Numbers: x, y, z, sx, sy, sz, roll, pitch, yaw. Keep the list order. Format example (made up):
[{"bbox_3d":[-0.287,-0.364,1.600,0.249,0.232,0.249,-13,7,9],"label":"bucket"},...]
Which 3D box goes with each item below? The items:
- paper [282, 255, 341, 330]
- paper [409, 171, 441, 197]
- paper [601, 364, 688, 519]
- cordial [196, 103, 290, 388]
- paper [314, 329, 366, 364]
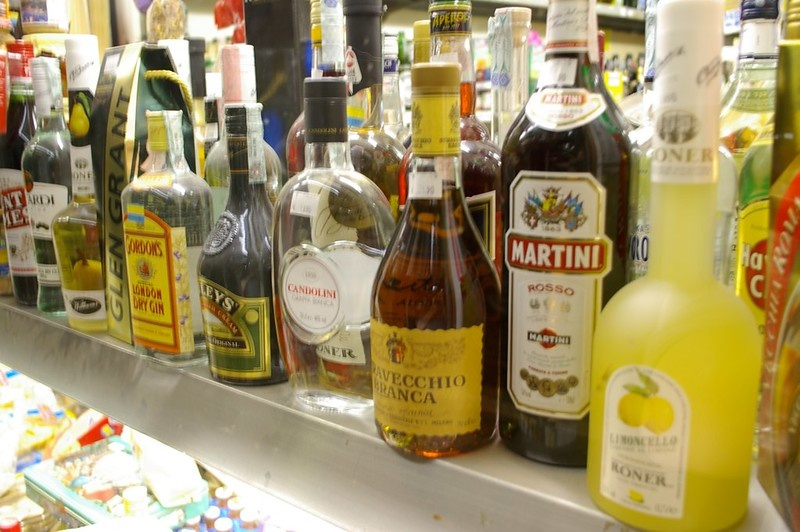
[{"bbox_3d":[-0.124,0.035,0.896,0.102,0.119,0.016,0,13,37],"label":"paper"},{"bbox_3d":[0.032,-0.106,0.807,0.048,0.036,0.027,5,8,29],"label":"paper"},{"bbox_3d":[0.264,0.184,0.691,0.111,0.202,0.021,3,13,27],"label":"paper"},{"bbox_3d":[-0.249,-0.035,1.046,0.180,0.445,0.184,-3,6,-11],"label":"cordial"},{"bbox_3d":[-0.081,0.119,0.902,0.055,0.035,0.055,7,13,44],"label":"paper"}]
